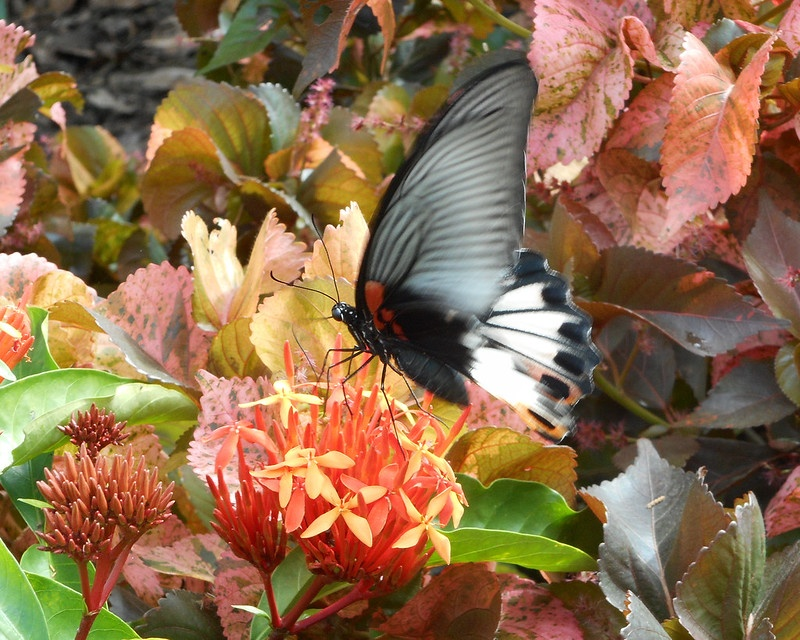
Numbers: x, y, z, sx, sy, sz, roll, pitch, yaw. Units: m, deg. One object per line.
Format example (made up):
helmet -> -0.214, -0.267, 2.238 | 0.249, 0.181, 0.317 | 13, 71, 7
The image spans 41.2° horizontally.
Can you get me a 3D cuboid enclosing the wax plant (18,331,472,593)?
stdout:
wax plant -> -0.106, 0.157, 1.109 | 0.317, 0.190, 0.299 | 5, 59, 5
